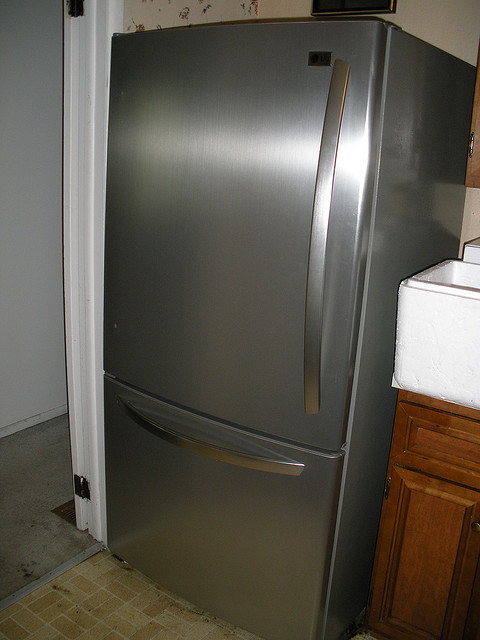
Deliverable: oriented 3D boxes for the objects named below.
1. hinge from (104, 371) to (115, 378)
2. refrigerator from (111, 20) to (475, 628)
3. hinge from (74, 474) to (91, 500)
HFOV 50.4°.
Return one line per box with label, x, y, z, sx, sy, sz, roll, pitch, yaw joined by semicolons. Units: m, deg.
hinge;-0.393;0.163;1.525;0.051;0.015;0.009;20;24;39
refrigerator;0.034;0.094;1.302;0.917;1.546;0.448;5;11;20
hinge;-0.561;0.589;1.816;0.081;0.105;0.016;15;19;37
